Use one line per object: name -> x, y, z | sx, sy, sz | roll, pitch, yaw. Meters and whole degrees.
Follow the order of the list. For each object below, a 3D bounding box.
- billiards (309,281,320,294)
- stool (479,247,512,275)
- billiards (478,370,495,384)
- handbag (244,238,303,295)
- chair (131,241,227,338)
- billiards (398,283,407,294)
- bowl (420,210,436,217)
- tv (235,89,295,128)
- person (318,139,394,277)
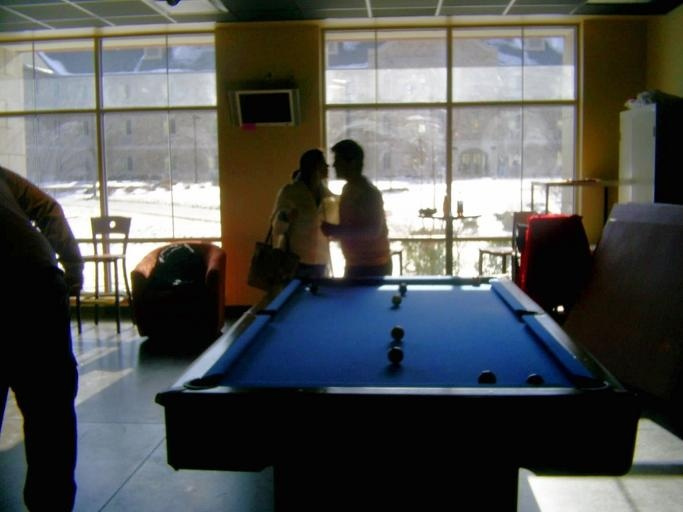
billiards -> -0.183, 0.208, 4.190 | 0.067, 0.071, 0.124 | -1, 15, -2
stool -> 1.700, 0.058, 7.012 | 0.358, 0.356, 0.750 | 0, 15, 12
billiards -> 0.678, 0.567, 2.935 | 0.088, 0.067, 0.047 | -1, -10, 4
handbag -> -0.553, 0.056, 4.860 | 0.297, 0.304, 0.298 | -6, -3, 36
chair -> -1.645, 0.335, 6.479 | 0.902, 0.937, 0.863 | 0, 6, 0
billiards -> 0.402, 0.220, 4.123 | 0.041, 0.058, 0.057 | 4, 6, 10
bowl -> 0.979, -0.489, 7.159 | 0.189, 0.115, 0.095 | -2, 14, 6
tv -> -0.835, -1.670, 6.956 | 0.551, 0.381, 0.131 | -4, 23, 5
person -> 0.101, -0.325, 4.602 | 0.440, 1.031, 0.535 | 1, 15, 14
